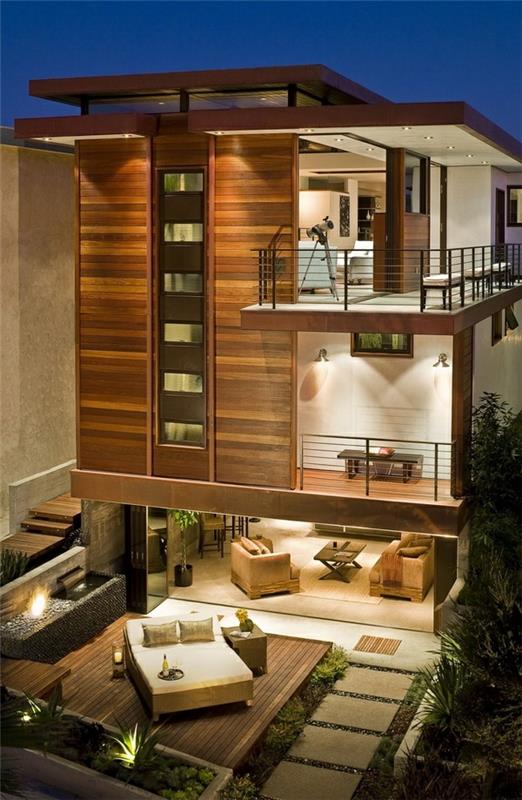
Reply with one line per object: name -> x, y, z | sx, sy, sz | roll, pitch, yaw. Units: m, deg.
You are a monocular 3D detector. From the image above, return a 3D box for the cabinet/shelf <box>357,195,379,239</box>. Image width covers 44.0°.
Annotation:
cabinet/shelf -> 3.794, -6.573, 23.243 | 0.918, 1.637, 0.347 | 4, 1, -32

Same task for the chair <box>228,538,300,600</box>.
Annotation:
chair -> 0.099, 3.321, 13.032 | 1.074, 0.951, 1.188 | -5, 10, -23

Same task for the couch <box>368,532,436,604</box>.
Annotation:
couch -> 2.772, 3.322, 12.525 | 0.950, 0.958, 1.901 | 4, 10, 20

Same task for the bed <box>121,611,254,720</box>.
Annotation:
bed -> -1.009, 3.463, 8.472 | 1.356, 0.754, 1.746 | 2, 4, -24

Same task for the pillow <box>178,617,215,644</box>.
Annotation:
pillow -> -0.910, 3.319, 9.230 | 0.617, 0.214, 0.514 | -2, 40, -1

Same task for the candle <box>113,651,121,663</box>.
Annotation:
candle -> -2.067, 3.720, 9.304 | 0.115, 0.160, 0.058 | 4, 1, -30

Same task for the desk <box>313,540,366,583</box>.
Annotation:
desk -> 1.702, 3.498, 13.931 | 0.767, 0.772, 1.402 | 5, 2, 24

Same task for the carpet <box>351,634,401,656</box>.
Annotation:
carpet -> 1.879, 3.981, 10.452 | 0.646, 0.084, 0.708 | 5, 2, 21

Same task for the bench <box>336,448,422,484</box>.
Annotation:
bench -> 2.061, 1.093, 10.689 | 1.468, 0.478, 0.571 | 4, 11, 20

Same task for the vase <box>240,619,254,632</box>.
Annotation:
vase -> -0.223, 3.308, 9.433 | 0.170, 0.223, 0.168 | 1, -7, -21

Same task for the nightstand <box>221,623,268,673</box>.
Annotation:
nightstand -> -0.231, 3.431, 9.352 | 0.539, 0.659, 1.027 | -5, 11, -14
